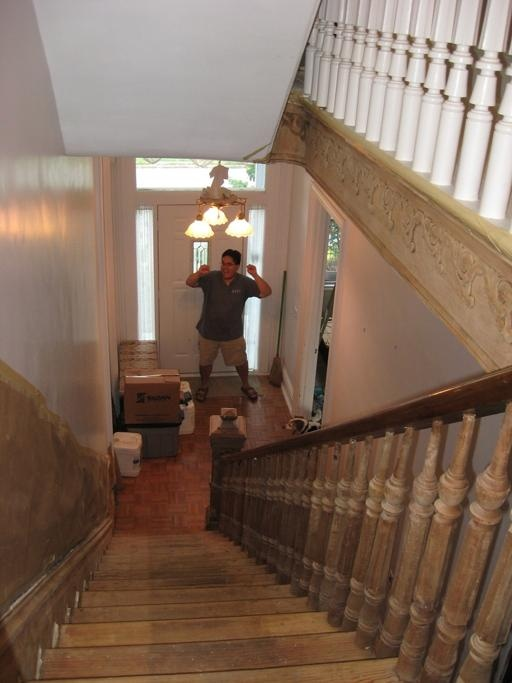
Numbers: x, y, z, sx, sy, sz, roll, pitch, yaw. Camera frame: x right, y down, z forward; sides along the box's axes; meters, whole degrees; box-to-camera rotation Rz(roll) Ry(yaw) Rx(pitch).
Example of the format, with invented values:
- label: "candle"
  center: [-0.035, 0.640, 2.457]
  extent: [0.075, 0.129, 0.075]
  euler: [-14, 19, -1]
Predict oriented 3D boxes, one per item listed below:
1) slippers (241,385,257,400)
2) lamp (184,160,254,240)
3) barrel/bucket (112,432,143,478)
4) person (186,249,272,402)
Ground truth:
- label: "slippers"
  center: [-0.081, 0.687, 6.460]
  extent: [0.110, 0.098, 0.242]
  euler: [-17, 37, -24]
- label: "lamp"
  center: [-0.405, -1.471, 5.139]
  extent: [0.696, 0.763, 0.617]
  euler: [-2, 6, 2]
- label: "barrel/bucket"
  center: [-1.336, 1.187, 5.030]
  extent: [0.316, 0.368, 0.317]
  euler: [2, 23, -1]
- label: "person"
  center: [-0.377, -0.184, 6.179]
  extent: [0.953, 2.002, 0.465]
  euler: [4, 15, 10]
